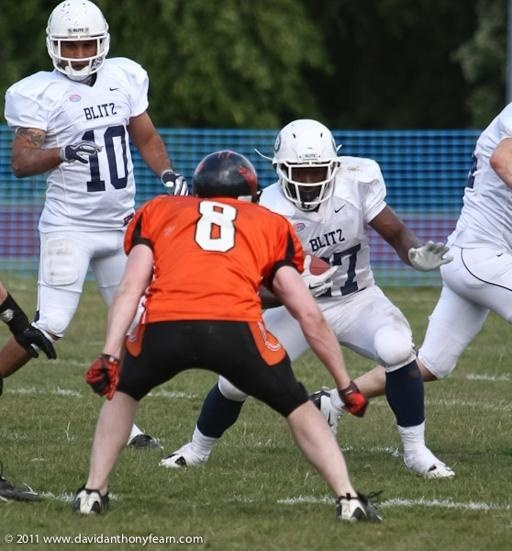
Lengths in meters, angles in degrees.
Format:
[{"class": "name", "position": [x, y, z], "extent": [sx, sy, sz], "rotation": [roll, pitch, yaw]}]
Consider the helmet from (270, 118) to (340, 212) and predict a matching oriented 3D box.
[{"class": "helmet", "position": [0.156, -0.483, 5.118], "extent": [0.307, 0.394, 0.375], "rotation": [-2, 15, -3]}]

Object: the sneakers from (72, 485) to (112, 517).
[{"class": "sneakers", "position": [-0.611, 0.834, 4.275], "extent": [0.073, 0.135, 0.062], "rotation": [9, 65, -3]}]

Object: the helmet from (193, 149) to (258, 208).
[{"class": "helmet", "position": [-0.121, -0.383, 4.472], "extent": [0.183, 0.218, 0.232], "rotation": [3, 0, 1]}]

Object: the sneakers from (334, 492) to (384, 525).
[{"class": "sneakers", "position": [0.379, 0.873, 4.311], "extent": [0.079, 0.097, 0.223], "rotation": [-1, -6, 25]}]

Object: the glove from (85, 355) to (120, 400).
[{"class": "glove", "position": [-0.554, 0.372, 4.242], "extent": [0.123, 0.158, 0.073], "rotation": [19, 23, 7]}]

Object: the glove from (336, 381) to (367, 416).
[{"class": "glove", "position": [0.379, 0.450, 4.425], "extent": [0.099, 0.137, 0.063], "rotation": [-28, 12, 36]}]

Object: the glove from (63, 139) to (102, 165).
[{"class": "glove", "position": [-0.805, -0.573, 5.330], "extent": [0.139, 0.041, 0.100], "rotation": [5, 53, 1]}]

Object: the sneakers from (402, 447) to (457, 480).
[{"class": "sneakers", "position": [0.757, 0.796, 5.024], "extent": [0.086, 0.095, 0.233], "rotation": [-14, 22, -20]}]

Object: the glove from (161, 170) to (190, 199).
[{"class": "glove", "position": [-0.396, -0.455, 5.741], "extent": [0.080, 0.118, 0.181], "rotation": [-9, 45, -10]}]
